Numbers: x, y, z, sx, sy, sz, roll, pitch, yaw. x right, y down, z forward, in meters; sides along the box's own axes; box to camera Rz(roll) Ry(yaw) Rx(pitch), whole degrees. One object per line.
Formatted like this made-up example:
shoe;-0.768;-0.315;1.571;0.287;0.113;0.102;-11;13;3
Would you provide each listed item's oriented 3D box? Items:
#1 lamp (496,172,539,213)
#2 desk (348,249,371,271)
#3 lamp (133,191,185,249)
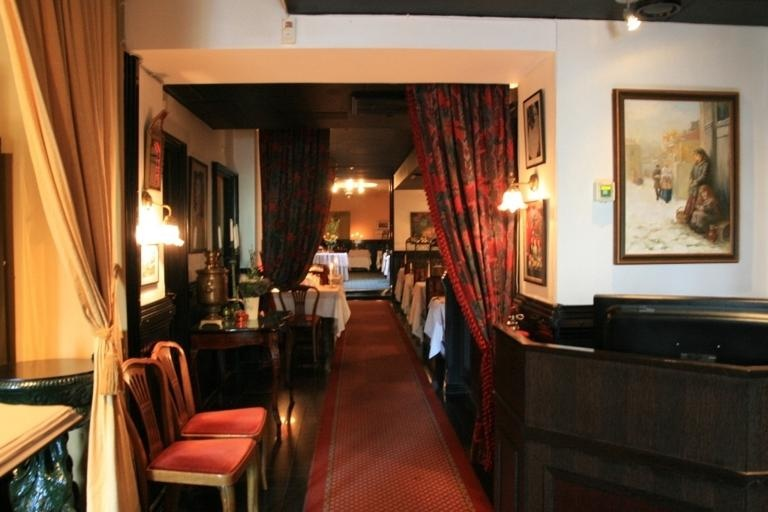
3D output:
lamp;1.166;-0.538;5.224;0.356;0.366;0.402;1;11;10
desk;-0.781;0.125;19.420;0.594;0.522;0.611;1;9;1
lamp;-1.905;-0.275;5.060;0.432;0.463;0.260;0;4;-2
